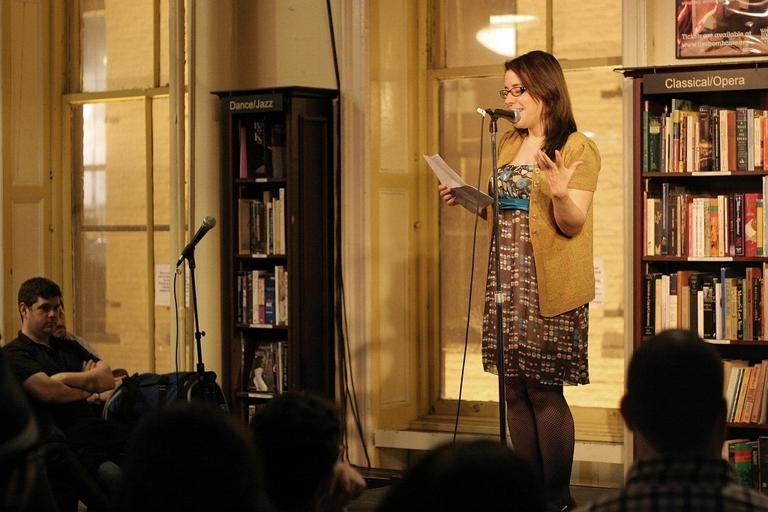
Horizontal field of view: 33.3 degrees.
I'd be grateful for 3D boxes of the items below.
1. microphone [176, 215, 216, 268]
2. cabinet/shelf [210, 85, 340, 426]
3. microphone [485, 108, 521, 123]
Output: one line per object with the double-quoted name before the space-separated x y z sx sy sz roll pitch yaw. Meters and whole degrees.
"microphone" -1.238 -0.094 8.578 0.390 0.128 0.113 -44 14 28
"cabinet/shelf" -0.700 -0.009 8.584 0.781 2.215 0.413 -2 -2 27
"microphone" 0.677 -0.815 7.320 0.277 0.066 0.053 1 -2 -44
